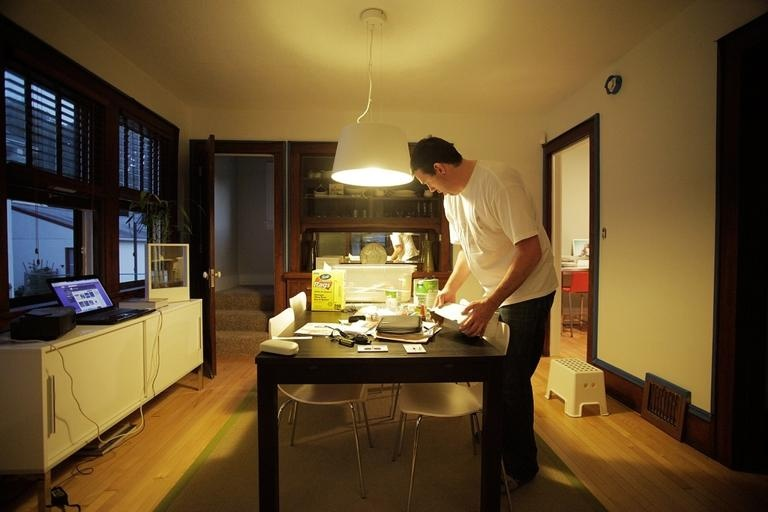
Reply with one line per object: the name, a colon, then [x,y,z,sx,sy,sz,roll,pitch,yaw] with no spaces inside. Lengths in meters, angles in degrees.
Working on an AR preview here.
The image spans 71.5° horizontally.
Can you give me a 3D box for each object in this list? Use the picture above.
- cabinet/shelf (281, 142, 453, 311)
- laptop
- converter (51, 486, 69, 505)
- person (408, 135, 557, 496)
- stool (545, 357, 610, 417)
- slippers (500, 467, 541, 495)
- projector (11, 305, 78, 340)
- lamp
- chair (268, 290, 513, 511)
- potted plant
cabinet/shelf: [-0.215,-0.337,5.480,1.834,1.914,0.623,0,0,-4]
laptop: [-2.392,0.363,4.437,0.424,0.291,0.458,3,4,-1]
converter: [-2.238,1.658,3.677,0.078,0.100,0.140,-4,5,-25]
person: [0.849,0.400,4.096,0.933,2.648,0.884,-5,2,22]
stool: [1.776,1.145,4.890,0.408,0.398,0.515,0,1,-4]
slippers: [0.980,1.645,3.956,0.338,0.155,0.117,-7,1,-18]
projector: [-2.518,0.483,3.972,0.236,0.194,0.339,0,8,-9]
lamp: [-0.155,-1.342,4.707,0.613,1.504,1.650,-2,2,-5]
chair: [-0.038,1.004,4.153,1.254,1.030,1.316,-1,0,-1]
potted plant: [-2.284,-0.241,5.417,0.617,0.893,1.238,-2,2,-20]
